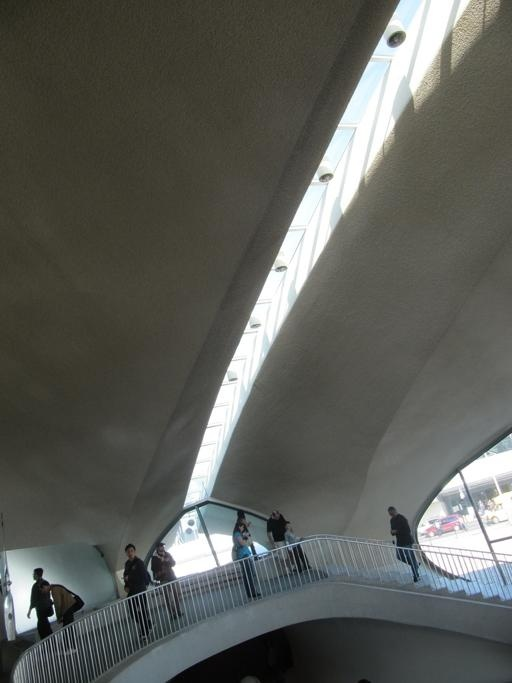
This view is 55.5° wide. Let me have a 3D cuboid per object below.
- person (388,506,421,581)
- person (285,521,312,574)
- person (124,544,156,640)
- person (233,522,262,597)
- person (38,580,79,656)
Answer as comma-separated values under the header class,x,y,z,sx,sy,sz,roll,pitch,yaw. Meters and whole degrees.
class,x,y,z,sx,sy,sz,roll,pitch,yaw
person,3.701,5.117,12.193,0.573,1.779,1.124,-24,-26,8
person,1.022,5.268,12.252,0.441,0.905,0.235,-15,-25,-30
person,-2.445,5.210,10.161,0.532,1.890,0.850,-11,-27,-18
person,-0.241,5.372,11.981,0.485,1.825,1.403,-16,-26,-8
person,-3.590,5.058,8.980,0.393,1.409,0.415,-43,-28,15
